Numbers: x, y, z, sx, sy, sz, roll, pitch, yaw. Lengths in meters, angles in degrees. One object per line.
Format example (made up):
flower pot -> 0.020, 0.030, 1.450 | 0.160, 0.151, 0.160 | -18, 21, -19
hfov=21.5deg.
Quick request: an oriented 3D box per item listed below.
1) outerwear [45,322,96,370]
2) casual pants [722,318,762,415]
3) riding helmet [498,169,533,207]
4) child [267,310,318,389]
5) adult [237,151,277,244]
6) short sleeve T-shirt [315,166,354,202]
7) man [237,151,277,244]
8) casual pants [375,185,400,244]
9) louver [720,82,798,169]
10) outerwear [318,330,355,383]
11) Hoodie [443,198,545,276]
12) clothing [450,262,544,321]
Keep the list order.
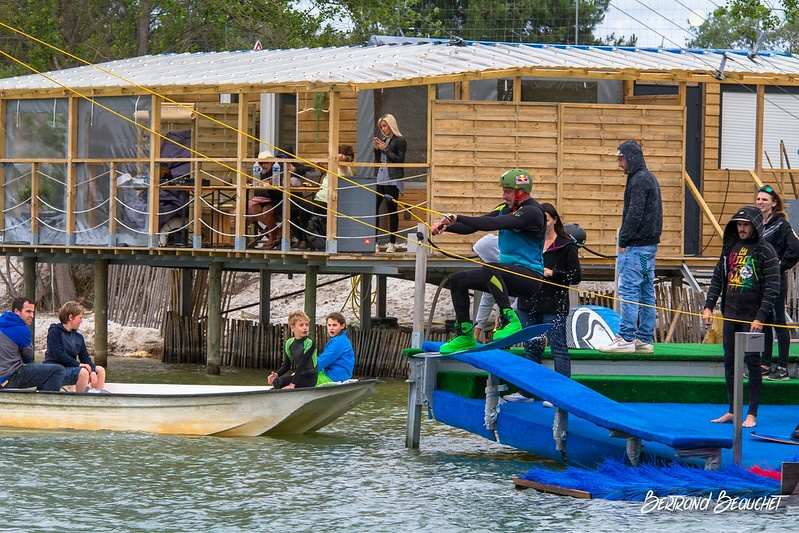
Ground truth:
outerwear -> -5.801, 1.467, 37.464 | 1.046, 0.835, 0.754 | 7, -8, -16
casual pants -> 5.637, 1.677, 34.373 | 0.330, 1.191, 0.377 | 19, 0, -19
riding helmet -> 2.063, -1.335, 35.108 | 0.696, 0.662, 0.520 | 0, 5, 9
child -> -1.833, 1.490, 37.218 | 0.841, 1.335, 1.089 | -1, -3, -6
adult -> -2.632, -1.330, 41.762 | 0.662, 2.015, 1.823 | -1, -3, -4
short sleeve T-shirt -> -1.263, -1.586, 41.155 | 0.710, 0.769, 0.966 | -1, -3, -3
man -> -2.632, -1.331, 41.756 | 0.662, 2.015, 1.745 | -1, -3, -4
casual pants -> -0.251, -1.211, 41.776 | 0.514, 1.449, 0.437 | -1, -2, -4
louver -> 7.311, -2.935, 43.318 | 2.173, 1.530, 0.191 | 0, 1, -14
outerwear -> -1.096, 1.664, 37.332 | 1.009, 0.930, 0.760 | 1, 0, 5
Hoodie -> 1.541, -0.480, 35.090 | 2.000, 1.198, 1.164 | 13, -6, -17
clothing -> 1.618, 0.521, 34.829 | 1.589, 1.112, 1.213 | 3, -15, -1
